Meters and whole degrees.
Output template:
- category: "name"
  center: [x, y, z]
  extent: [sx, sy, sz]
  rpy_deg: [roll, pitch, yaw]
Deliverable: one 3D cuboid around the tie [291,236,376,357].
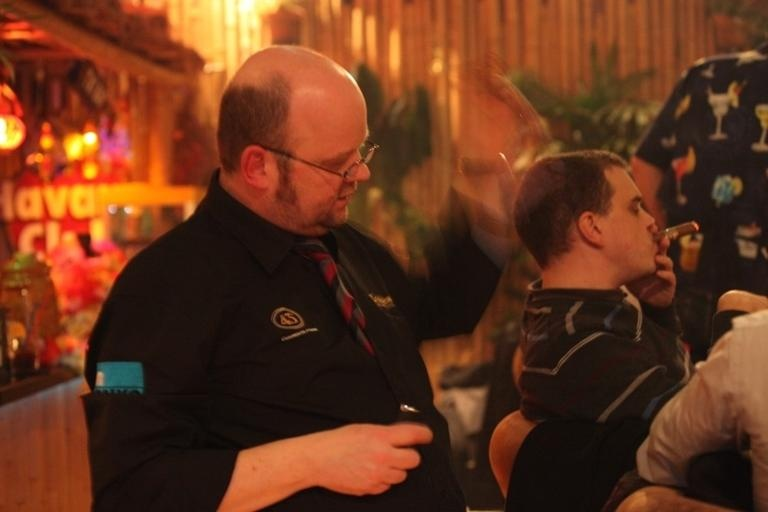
- category: "tie"
  center: [-0.121, 0.078, 2.021]
  extent: [0.075, 0.063, 0.415]
  rpy_deg: [-5, 39, -31]
